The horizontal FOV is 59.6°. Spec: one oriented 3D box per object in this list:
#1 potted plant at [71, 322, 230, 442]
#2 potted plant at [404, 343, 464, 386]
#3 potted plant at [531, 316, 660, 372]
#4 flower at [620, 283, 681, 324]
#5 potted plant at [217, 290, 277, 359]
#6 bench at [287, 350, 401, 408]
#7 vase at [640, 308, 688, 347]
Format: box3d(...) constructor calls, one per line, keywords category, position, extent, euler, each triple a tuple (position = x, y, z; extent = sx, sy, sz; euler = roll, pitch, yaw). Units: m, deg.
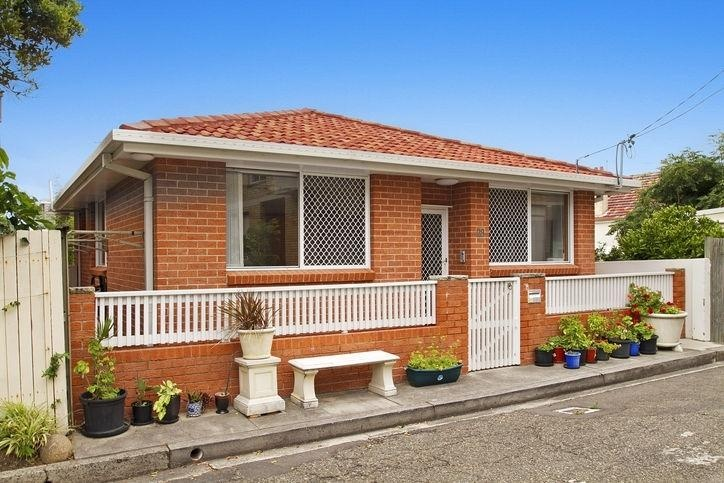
box3d(category="potted plant", position=(-3.372, 2.225, 9.805), extent=(1.701, 1.352, 0.627), euler=(6, -14, -38))
box3d(category="potted plant", position=(1.371, 2.335, 11.620), extent=(0.837, 0.327, 0.604), euler=(-5, -8, -42))
box3d(category="potted plant", position=(4.860, 2.033, 13.187), extent=(1.941, 0.581, 1.275), euler=(-5, 4, -23))
box3d(category="flower", position=(6.435, 1.374, 14.206), extent=(1.073, 0.656, 0.915), euler=(2, -5, -13))
box3d(category="potted plant", position=(-1.831, 1.400, 10.457), extent=(0.824, 1.102, 0.852), euler=(-5, 12, -28))
box3d(category="bench", position=(-0.309, 2.356, 10.808), extent=(1.876, 0.616, 0.662), euler=(1, -1, -32))
box3d(category="vase", position=(6.611, 1.984, 14.100), extent=(1.146, 0.775, 1.110), euler=(1, -13, 14))
